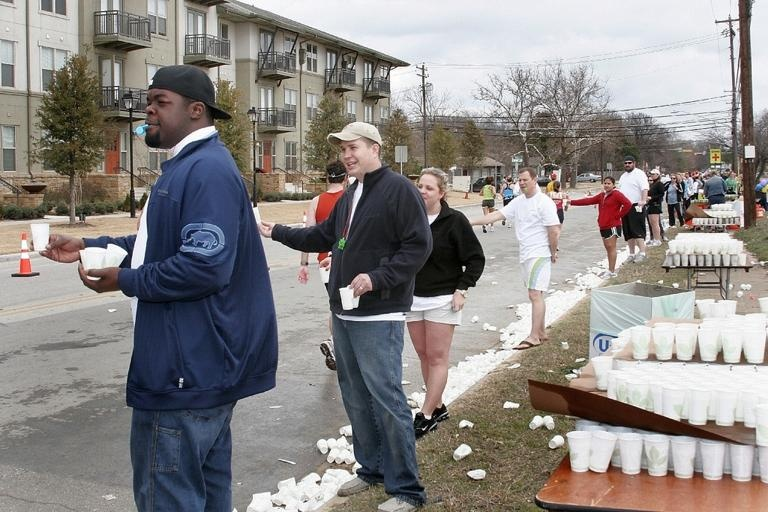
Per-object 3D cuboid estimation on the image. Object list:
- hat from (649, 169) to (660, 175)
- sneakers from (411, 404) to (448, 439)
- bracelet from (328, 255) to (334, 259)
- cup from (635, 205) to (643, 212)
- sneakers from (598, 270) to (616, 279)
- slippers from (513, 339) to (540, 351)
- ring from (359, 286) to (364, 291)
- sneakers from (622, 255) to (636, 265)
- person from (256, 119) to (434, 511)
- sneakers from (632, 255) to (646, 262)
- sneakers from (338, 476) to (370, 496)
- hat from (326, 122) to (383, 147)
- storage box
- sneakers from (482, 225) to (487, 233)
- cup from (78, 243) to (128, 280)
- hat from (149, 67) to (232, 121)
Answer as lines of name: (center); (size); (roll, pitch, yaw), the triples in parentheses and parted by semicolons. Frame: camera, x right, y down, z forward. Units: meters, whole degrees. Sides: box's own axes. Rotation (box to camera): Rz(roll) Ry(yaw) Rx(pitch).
hat: (8.699, -2.676, 21.374); (0.431, 0.163, 0.286); (0, 5, -42)
sneakers: (0.419, 1.580, 6.413); (0.441, 0.169, 0.147); (-26, 7, -41)
bracelet: (-0.546, 0.009, 6.605); (0.054, 0.029, 0.051); (5, 20, -2)
cup: (6.319, -1.175, 16.582); (0.166, 0.072, 0.168); (0, 13, 0)
sneakers: (5.062, 0.426, 15.105); (0.431, 0.179, 0.166); (-2, 2, -23)
slippers: (1.928, 1.215, 9.082); (0.309, 0.069, 0.143); (0, -5, -31)
ring: (-0.180, 0.239, 4.906); (0.018, 0.022, 0.079); (-9, 5, 16)
sneakers: (6.387, 0.098, 17.409); (0.172, 0.225, 0.549); (2, 1, 41)
person: (-0.146, 0.417, 5.374); (0.770, 2.980, 1.186); (-5, 8, -33)
sneakers: (6.537, 0.072, 17.083); (0.173, 0.201, 0.485); (-1, -2, 36)
sneakers: (-0.260, 1.871, 5.444); (0.240, 0.093, 0.104); (-1, -2, -26)
hat: (-0.224, -0.942, 5.330); (0.346, 0.127, 0.224); (0, 4, -21)
storage box: (2.846, 0.634, 7.369); (1.037, 1.018, 1.062); (2, -3, -35)
sneakers: (4.186, -1.107, 28.013); (0.129, 0.376, 0.150); (-4, -11, 4)
cup: (-1.684, 0.020, 3.938); (0.249, 0.173, 0.164); (1, -2, -25)
hat: (-1.243, -1.017, 4.166); (0.481, 0.243, 0.332); (5, 11, -27)
